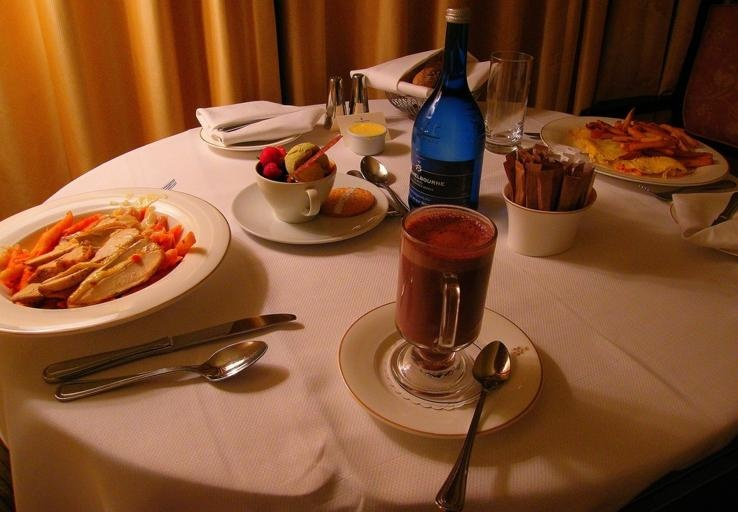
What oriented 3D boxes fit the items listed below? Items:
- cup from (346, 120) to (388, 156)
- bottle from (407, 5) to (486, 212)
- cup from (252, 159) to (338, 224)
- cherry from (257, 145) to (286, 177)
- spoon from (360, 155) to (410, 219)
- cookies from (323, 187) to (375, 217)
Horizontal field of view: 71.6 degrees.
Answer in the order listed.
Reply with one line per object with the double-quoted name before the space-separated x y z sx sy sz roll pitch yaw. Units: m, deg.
"cup" -0.009 -0.298 1.265 0.092 0.055 0.089 1 41 -1
"bottle" 0.155 -0.251 0.978 0.149 0.393 0.145 1 31 0
"cup" -0.138 -0.106 0.961 0.149 0.104 0.182 -15 37 -23
"cherry" -0.186 -0.177 0.987 0.059 0.033 0.067 0 41 -6
"spoon" 0.030 -0.168 1.128 0.052 0.029 0.248 -19 44 -7
"cookies" -0.038 -0.107 1.029 0.065 0.009 0.077 8 29 14
